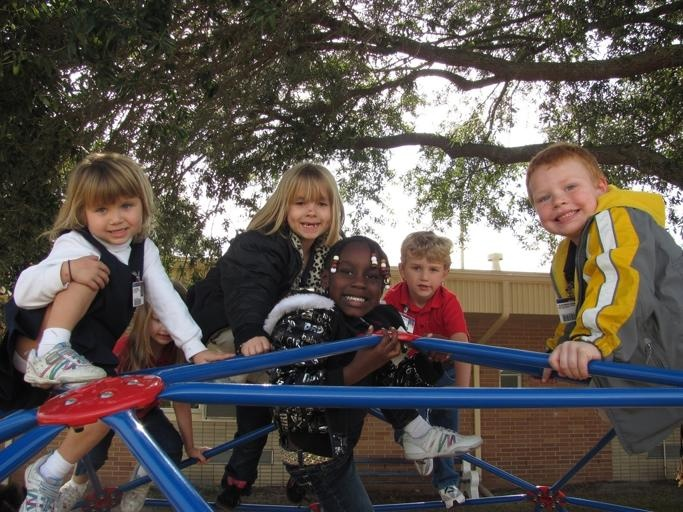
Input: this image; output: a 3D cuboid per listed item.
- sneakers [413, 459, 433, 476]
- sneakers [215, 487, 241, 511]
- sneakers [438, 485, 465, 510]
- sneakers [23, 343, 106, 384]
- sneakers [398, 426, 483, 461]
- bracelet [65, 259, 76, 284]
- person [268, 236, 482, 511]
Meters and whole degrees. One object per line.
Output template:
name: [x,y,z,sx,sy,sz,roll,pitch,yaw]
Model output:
sneakers: [0.509,1.283,3.770,0.075,0.101,0.224,-1,-5,5]
sneakers: [-0.701,1.476,3.829,0.091,0.094,0.217,39,-3,-5]
sneakers: [0.752,1.632,4.180,0.114,0.090,0.199,-12,-20,-6]
sneakers: [-1.231,0.475,2.684,0.422,0.190,0.146,-2,-4,25]
sneakers: [0.539,1.039,3.483,0.471,0.192,0.174,-4,-15,-10]
bracelet: [-1.221,0.075,2.768,0.031,0.105,0.023,1,-4,-13]
person: [0.138,0.582,3.173,0.637,1.365,0.981,-3,-5,44]
